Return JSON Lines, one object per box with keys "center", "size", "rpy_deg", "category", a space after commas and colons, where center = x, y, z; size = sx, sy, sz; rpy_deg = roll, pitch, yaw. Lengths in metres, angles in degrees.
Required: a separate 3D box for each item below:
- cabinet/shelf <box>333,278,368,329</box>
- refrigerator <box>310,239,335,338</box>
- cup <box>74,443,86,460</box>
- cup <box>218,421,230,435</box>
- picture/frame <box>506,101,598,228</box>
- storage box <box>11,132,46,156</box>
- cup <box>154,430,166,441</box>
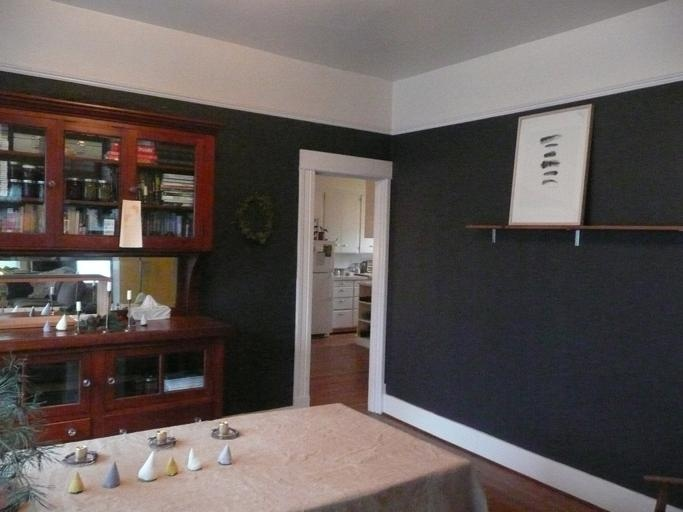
{"center": [-0.053, 0.903, 9.293], "size": [0.630, 0.927, 1.046], "rpy_deg": [-6, -4, 34], "category": "cabinet/shelf"}
{"center": [-0.324, 0.559, 8.662], "size": [0.493, 1.422, 0.166], "rpy_deg": [-2, 1, -37], "category": "refrigerator"}
{"center": [-1.274, 0.957, 2.445], "size": [0.048, 0.060, 0.064], "rpy_deg": [-3, -4, 40], "category": "cup"}
{"center": [-0.636, 0.935, 2.716], "size": [0.057, 0.055, 0.050], "rpy_deg": [1, 1, -12], "category": "cup"}
{"center": [1.692, -0.716, 4.080], "size": [0.218, 0.641, 0.626], "rpy_deg": [-2, 1, -35], "category": "picture/frame"}
{"center": [-2.195, -0.788, 3.522], "size": [0.227, 0.127, 0.239], "rpy_deg": [8, 10, 3], "category": "storage box"}
{"center": [-0.941, 0.935, 2.625], "size": [0.053, 0.055, 0.055], "rpy_deg": [4, -1, 0], "category": "cup"}
